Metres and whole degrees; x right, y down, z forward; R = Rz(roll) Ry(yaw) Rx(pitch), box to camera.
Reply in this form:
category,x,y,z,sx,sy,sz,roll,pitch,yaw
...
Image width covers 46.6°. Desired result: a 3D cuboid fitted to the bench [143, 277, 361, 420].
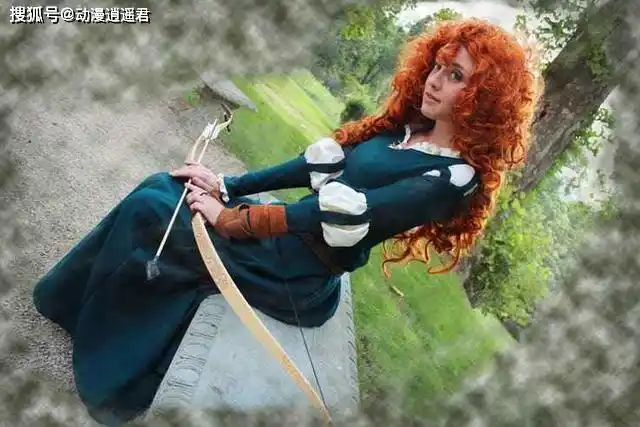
category,x,y,z,sx,sy,sz,roll,pitch,yaw
bench,-0.428,1.289,6.175,1.555,1.006,1.005,24,20,-29

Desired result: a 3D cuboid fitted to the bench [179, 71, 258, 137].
category,x,y,z,sx,sy,sz,roll,pitch,yaw
bench,-1.229,-1.265,8.701,0.554,0.472,0.956,31,12,-41
